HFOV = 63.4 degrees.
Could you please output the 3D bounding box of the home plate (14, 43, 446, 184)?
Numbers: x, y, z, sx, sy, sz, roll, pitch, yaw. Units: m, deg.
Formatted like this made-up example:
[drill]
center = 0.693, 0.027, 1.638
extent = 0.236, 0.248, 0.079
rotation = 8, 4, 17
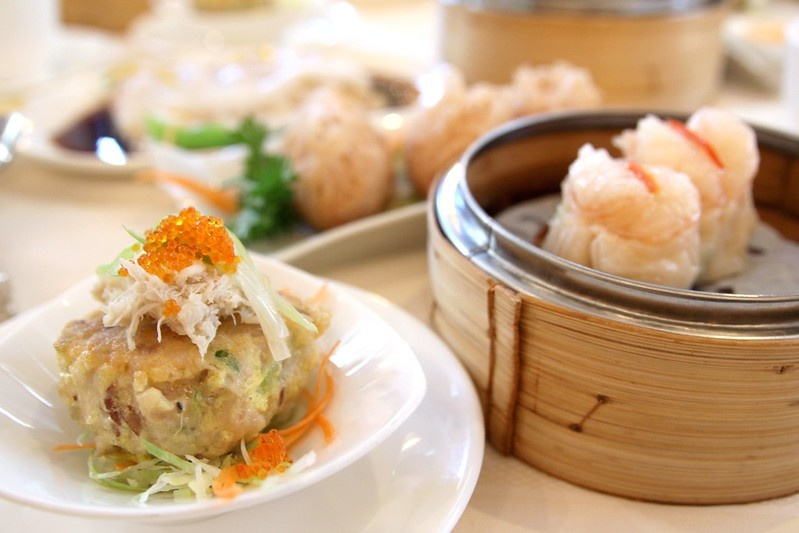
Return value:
[home plate]
center = -0.474, -0.567, 2.018
extent = 0.834, 0.090, 0.817
rotation = 5, 27, 11
